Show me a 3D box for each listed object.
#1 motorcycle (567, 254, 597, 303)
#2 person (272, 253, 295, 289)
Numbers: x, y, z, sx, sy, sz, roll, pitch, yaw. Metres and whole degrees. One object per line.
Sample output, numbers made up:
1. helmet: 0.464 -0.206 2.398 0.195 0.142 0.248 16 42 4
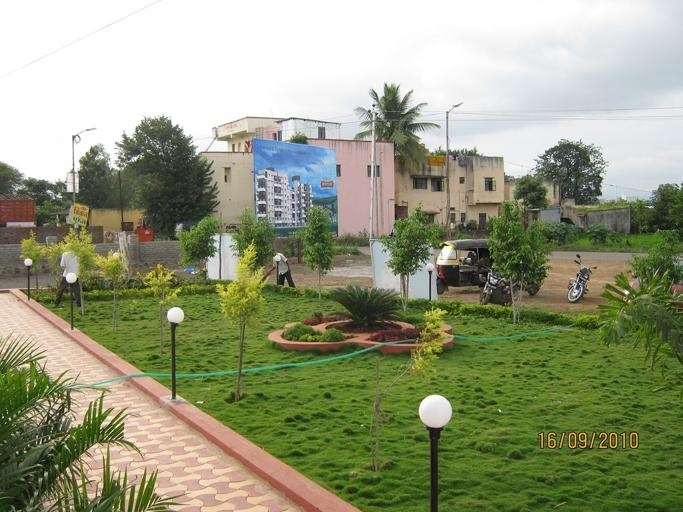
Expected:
1. motorcycle: 6.644 0.618 20.231 0.589 1.143 1.737 23 23 14
2. person: -1.765 0.451 22.242 0.552 1.398 0.428 -2 46 5
